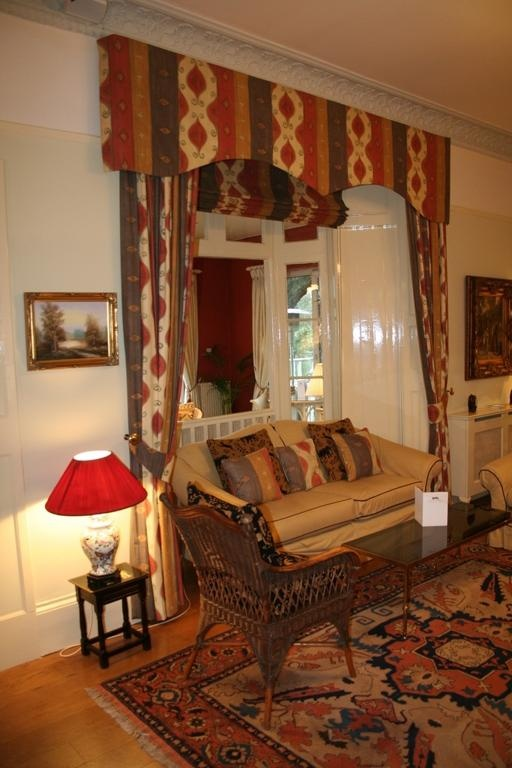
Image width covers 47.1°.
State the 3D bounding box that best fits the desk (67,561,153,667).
[{"bbox_3d":[-0.735,1.164,2.973,0.326,0.421,0.388,-6,4,-21],"label":"desk"}]

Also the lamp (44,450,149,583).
[{"bbox_3d":[-0.766,0.651,2.862,0.480,0.604,0.461,-4,4,1],"label":"lamp"}]

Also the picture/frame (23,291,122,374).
[{"bbox_3d":[-0.981,-0.271,3.058,0.429,0.361,0.054,-6,7,-43],"label":"picture/frame"}]

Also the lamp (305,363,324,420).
[{"bbox_3d":[0.515,0.068,5.172,0.160,0.469,0.118,-3,1,3],"label":"lamp"}]

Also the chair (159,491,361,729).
[{"bbox_3d":[0.043,0.876,2.550,0.664,0.857,0.609,-4,1,-40],"label":"chair"}]

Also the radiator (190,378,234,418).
[{"bbox_3d":[-0.576,0.168,7.372,0.458,0.464,0.047,-5,9,-32],"label":"radiator"}]
